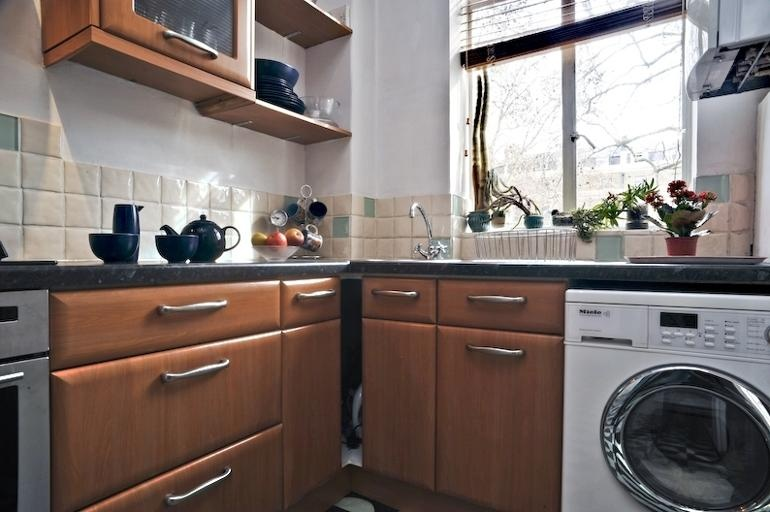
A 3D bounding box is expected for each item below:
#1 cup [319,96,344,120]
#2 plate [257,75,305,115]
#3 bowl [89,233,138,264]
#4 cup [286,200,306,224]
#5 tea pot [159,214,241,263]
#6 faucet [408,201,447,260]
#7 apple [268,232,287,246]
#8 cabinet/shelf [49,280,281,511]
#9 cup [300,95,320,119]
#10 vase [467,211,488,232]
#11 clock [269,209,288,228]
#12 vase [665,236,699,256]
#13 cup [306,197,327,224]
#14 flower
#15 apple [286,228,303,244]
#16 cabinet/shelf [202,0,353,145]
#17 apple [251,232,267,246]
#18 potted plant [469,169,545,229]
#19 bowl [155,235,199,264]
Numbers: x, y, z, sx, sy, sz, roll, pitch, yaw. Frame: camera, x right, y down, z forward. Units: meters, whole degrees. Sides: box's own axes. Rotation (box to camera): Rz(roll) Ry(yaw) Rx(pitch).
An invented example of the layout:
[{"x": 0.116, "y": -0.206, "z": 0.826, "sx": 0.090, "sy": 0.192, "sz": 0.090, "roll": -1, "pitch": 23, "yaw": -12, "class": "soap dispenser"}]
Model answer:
[{"x": -0.330, "y": -0.856, "z": 3.110, "sx": 0.131, "sy": 0.099, "sz": 0.133, "roll": -1, "pitch": 5, "yaw": 0, "class": "cup"}, {"x": -0.561, "y": -0.867, "z": 2.854, "sx": 0.293, "sy": 0.178, "sz": 0.067, "roll": -4, "pitch": 4, "yaw": -38, "class": "plate"}, {"x": -1.041, "y": -0.032, "z": 2.031, "sx": 0.136, "sy": 0.089, "sz": 0.138, "roll": 2, "pitch": 2, "yaw": 0, "class": "bowl"}, {"x": -0.536, "y": -0.272, "z": 3.193, "sx": 0.079, "sy": 0.128, "sz": 0.090, "roll": -1, "pitch": 4, "yaw": 28, "class": "cup"}, {"x": -0.824, "y": -0.068, "z": 2.295, "sx": 0.307, "sy": 0.200, "sz": 0.217, "roll": -3, "pitch": 1, "yaw": -44, "class": "tea pot"}, {"x": 0.254, "y": -0.151, "z": 3.040, "sx": 0.214, "sy": 0.336, "sz": 0.387, "roll": -1, "pitch": 3, "yaw": 5, "class": "faucet"}, {"x": -0.542, "y": -0.092, "z": 2.640, "sx": 0.073, "sy": 0.088, "sz": 0.072, "roll": -1, "pitch": 23, "yaw": -1, "class": "apple"}, {"x": -0.889, "y": 0.330, "z": 2.070, "sx": 0.618, "sy": 0.694, "sz": 0.966, "roll": -6, "pitch": -6, "yaw": 36, "class": "cabinet/shelf"}, {"x": -0.426, "y": -0.861, "z": 3.065, "sx": 0.110, "sy": 0.124, "sz": 0.116, "roll": 1, "pitch": 7, "yaw": 0, "class": "cup"}, {"x": 0.566, "y": -0.213, "z": 3.262, "sx": 0.121, "sy": 0.132, "sz": 0.117, "roll": 2, "pitch": 5, "yaw": 14, "class": "vase"}, {"x": -0.614, "y": -0.222, "z": 3.128, "sx": 0.074, "sy": 0.101, "sz": 0.144, "roll": 1, "pitch": 4, "yaw": 39, "class": "clock"}, {"x": 1.341, "y": -0.047, "z": 2.392, "sx": 0.100, "sy": 0.073, "sz": 0.101, "roll": 2, "pitch": 3, "yaw": 43, "class": "vase"}, {"x": -0.427, "y": -0.285, "z": 3.272, "sx": 0.122, "sy": 0.138, "sz": 0.115, "roll": -1, "pitch": 3, "yaw": 0, "class": "cup"}, {"x": 1.395, "y": -0.181, "z": 2.548, "sx": 0.312, "sy": 0.306, "sz": 0.315, "roll": -9, "pitch": -22, "yaw": 23, "class": "flower"}, {"x": -0.476, "y": -0.096, "z": 2.807, "sx": 0.084, "sy": 0.084, "sz": 0.083, "roll": 4, "pitch": -35, "yaw": -35, "class": "apple"}, {"x": -0.590, "y": -0.986, "z": 2.873, "sx": 0.454, "sy": 0.624, "sz": 0.928, "roll": -1, "pitch": -5, "yaw": 33, "class": "cabinet/shelf"}, {"x": -0.635, "y": -0.086, "z": 2.661, "sx": 0.071, "sy": 0.059, "sz": 0.139, "roll": -2, "pitch": 3, "yaw": -16, "class": "apple"}, {"x": 0.732, "y": -0.345, "z": 3.218, "sx": 0.435, "sy": 0.366, "sz": 0.294, "roll": 0, "pitch": 3, "yaw": 18, "class": "potted plant"}, {"x": -0.855, "y": -0.018, "z": 2.169, "sx": 0.129, "sy": 0.093, "sz": 0.131, "roll": 1, "pitch": -1, "yaw": 0, "class": "bowl"}]
